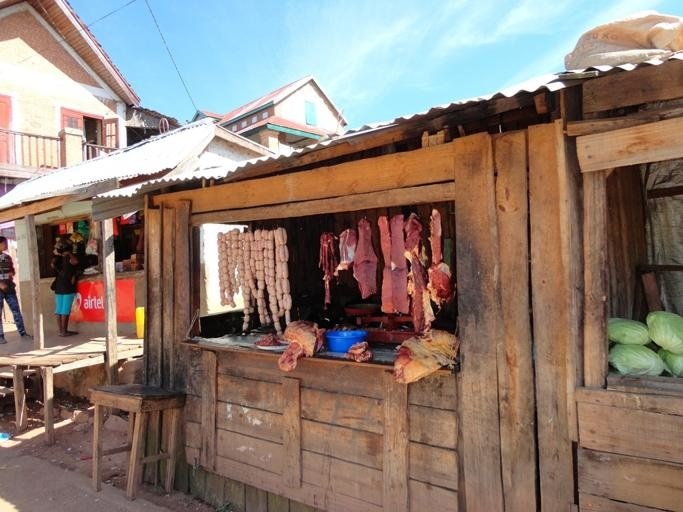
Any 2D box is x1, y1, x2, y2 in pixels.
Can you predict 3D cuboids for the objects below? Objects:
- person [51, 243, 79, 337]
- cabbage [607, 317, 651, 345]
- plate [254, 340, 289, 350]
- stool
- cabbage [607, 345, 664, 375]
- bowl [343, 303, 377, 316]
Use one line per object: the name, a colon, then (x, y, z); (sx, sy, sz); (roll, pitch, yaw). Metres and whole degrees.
person: (-5.450, 0.636, 10.769); (0.499, 1.798, 0.623); (0, -2, -43)
cabbage: (2.539, 0.691, 4.846); (0.386, 0.226, 0.213); (-3, -2, 12)
plate: (-0.790, 1.027, 6.095); (0.347, 0.041, 0.376); (-3, -2, -4)
stool: (-2.521, 2.252, 6.670); (0.970, 1.328, 0.832); (-4, -2, 36)
cabbage: (2.548, 0.911, 4.713); (0.339, 0.135, 0.296); (15, 34, 38)
bowl: (0.236, 0.652, 6.454); (0.378, 0.081, 0.543); (-3, -2, 13)
